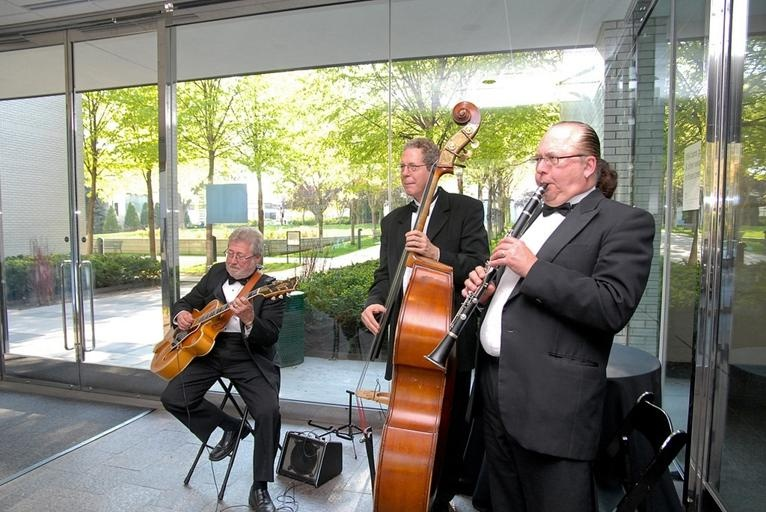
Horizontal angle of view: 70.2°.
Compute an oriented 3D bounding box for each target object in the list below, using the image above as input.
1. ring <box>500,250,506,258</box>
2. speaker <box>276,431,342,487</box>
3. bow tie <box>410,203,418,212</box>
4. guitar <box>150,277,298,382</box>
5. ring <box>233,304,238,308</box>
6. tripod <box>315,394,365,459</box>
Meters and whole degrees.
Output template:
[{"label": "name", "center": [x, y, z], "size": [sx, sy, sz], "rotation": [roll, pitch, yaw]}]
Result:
[{"label": "ring", "center": [0.598, -0.011, 2.750], "size": [0.006, 0.026, 0.026], "rotation": [16, -21, -10]}, {"label": "speaker", "center": [-0.566, 1.567, 4.265], "size": [0.413, 0.376, 0.333], "rotation": [-2, -9, 43]}, {"label": "bow tie", "center": [0.211, -0.334, 3.757], "size": [0.012, 0.054, 0.054], "rotation": [-11, -17, -28]}, {"label": "guitar", "center": [-1.197, 0.590, 4.286], "size": [1.186, 0.491, 0.164], "rotation": [-35, -58, 15]}, {"label": "ring", "center": [-1.044, 0.356, 3.850], "size": [0.027, 0.016, 0.028], "rotation": [10, -8, 1]}, {"label": "tripod", "center": [-0.318, 1.405, 4.810], "size": [0.522, 0.350, 0.553], "rotation": [4, -8, 1]}]
